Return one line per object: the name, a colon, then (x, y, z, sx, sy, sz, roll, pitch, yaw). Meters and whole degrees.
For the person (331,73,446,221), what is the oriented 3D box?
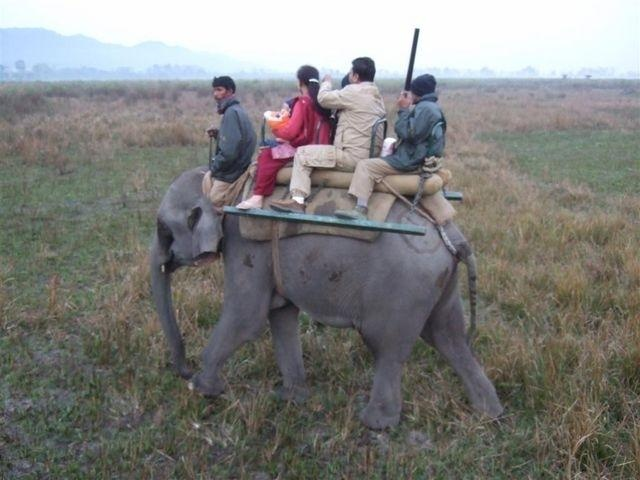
person: (0.673, -0.865, 4.836, 1.021, 1.088, 0.516, -11, 25, -25)

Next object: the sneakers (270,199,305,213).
sneakers: (-0.276, -0.295, 4.736, 0.282, 0.107, 0.232, 2, 27, 0)
